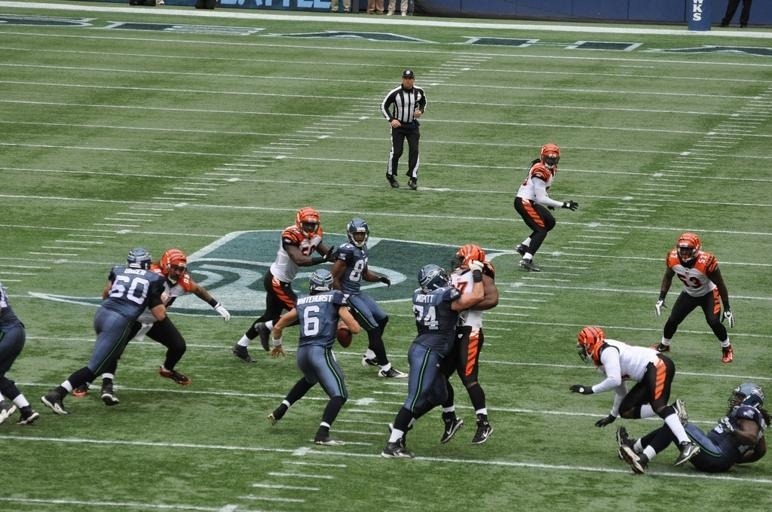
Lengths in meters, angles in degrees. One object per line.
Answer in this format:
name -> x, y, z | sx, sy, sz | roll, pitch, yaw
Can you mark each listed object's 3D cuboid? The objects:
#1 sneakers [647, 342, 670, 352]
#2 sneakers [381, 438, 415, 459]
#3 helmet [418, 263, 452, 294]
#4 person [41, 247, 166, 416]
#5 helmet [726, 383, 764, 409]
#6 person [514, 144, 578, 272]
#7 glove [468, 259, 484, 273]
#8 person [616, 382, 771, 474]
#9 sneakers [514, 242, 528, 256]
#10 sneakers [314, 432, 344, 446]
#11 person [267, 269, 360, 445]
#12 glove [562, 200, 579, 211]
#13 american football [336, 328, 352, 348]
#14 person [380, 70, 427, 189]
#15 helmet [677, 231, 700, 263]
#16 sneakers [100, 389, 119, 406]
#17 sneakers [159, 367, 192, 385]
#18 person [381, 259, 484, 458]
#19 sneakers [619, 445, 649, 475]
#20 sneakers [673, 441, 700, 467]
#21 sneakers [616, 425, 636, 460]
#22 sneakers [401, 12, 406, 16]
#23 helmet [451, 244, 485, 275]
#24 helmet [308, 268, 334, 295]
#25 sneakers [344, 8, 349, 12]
sneakers -> 3.844, 1.280, 18.188 | 0.392, 0.109, 0.117 | 8, 14, 12
sneakers -> 0.132, 2.290, 15.272 | 0.527, 0.221, 0.170 | 0, 7, 0
helmet -> 0.551, 0.262, 15.660 | 0.442, 0.265, 0.291 | -25, 27, -1
person -> -3.395, 0.964, 16.212 | 0.583, 1.977, 1.578 | 15, 19, 42
helmet -> 4.185, 1.616, 15.115 | 0.454, 0.225, 0.275 | 2, -8, 14
person -> 2.540, -0.734, 21.342 | 0.862, 1.895, 0.801 | 2, 14, 4
glove -> 1.096, 0.116, 15.847 | 0.201, 0.122, 0.125 | -9, 5, 9
person -> 3.612, 2.024, 15.049 | 1.575, 1.011, 0.450 | 1, 14, 0
sneakers -> 2.236, -0.108, 21.414 | 0.301, 0.130, 0.108 | 35, -5, -30
sneakers -> -0.680, 2.175, 15.549 | 0.332, 0.189, 0.285 | 0, 11, -4
person -> -0.782, 1.232, 15.660 | 0.916, 1.999, 0.947 | 8, 16, 25
glove -> 3.006, -0.831, 21.389 | 0.218, 0.176, 0.598 | 2, 10, 7
american football -> -0.541, 1.087, 16.929 | 0.288, 0.091, 0.290 | 7, -27, 3
person -> 0.340, -2.380, 24.795 | 0.773, 2.279, 0.660 | 1, 15, 1
helmet -> 4.179, -0.117, 17.915 | 0.486, 0.378, 0.528 | 1, 6, 18
sneakers -> -3.442, 1.770, 16.256 | 0.157, 0.118, 0.310 | -5, -16, 8
sneakers -> -2.757, 1.595, 17.097 | 0.518, 0.156, 0.165 | 16, 33, 0
person -> 0.536, 1.243, 15.537 | 0.683, 2.194, 1.454 | 11, 17, 33
sneakers -> 2.848, 2.355, 14.997 | 0.306, 0.144, 0.495 | -14, -33, 24
sneakers -> 3.459, 2.269, 14.942 | 0.313, 0.315, 0.160 | -6, 16, -28
sneakers -> 2.758, 2.177, 15.254 | 0.318, 0.423, 0.163 | -9, -27, 0
sneakers -> 0.577, -7.724, 41.446 | 0.151, 0.107, 0.119 | 18, -34, 15
helmet -> 0.960, 0.028, 16.174 | 0.626, 0.322, 0.366 | -1, 6, 10
helmet -> -0.846, 0.316, 15.926 | 0.337, 0.259, 0.345 | 4, -8, 15
sneakers -> -1.212, -7.792, 41.212 | 0.170, 0.144, 0.102 | 1, 13, 3
